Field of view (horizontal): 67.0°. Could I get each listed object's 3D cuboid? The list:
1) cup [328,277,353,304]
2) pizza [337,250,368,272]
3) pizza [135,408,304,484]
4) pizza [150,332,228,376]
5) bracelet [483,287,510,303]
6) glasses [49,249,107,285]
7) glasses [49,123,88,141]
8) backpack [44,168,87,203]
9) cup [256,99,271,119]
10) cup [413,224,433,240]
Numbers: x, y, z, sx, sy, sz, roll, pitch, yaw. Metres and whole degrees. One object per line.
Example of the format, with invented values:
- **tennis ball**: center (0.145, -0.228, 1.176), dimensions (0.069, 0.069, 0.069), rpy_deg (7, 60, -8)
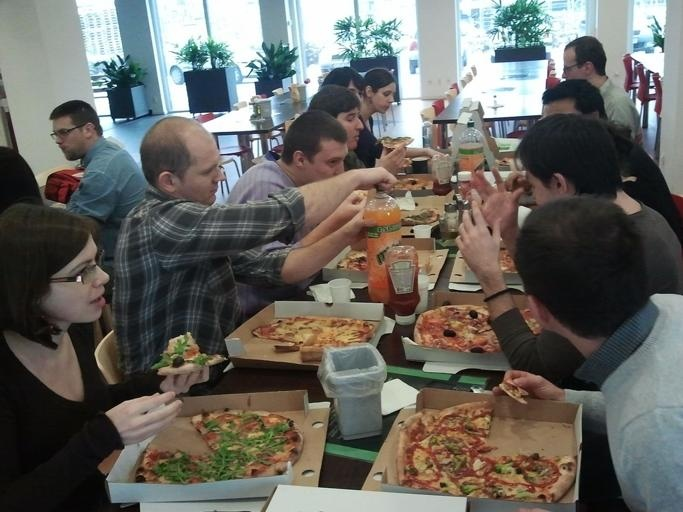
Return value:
- **cup**: center (-0.004, 0.131, 1.876), dimensions (0.077, 0.060, 0.089), rpy_deg (-1, 13, 6)
- **pizza**: center (0.056, 0.026, 2.282), dimensions (0.102, 0.023, 0.092), rpy_deg (3, 27, 17)
- **pizza**: center (-0.300, 0.473, 1.302), dimensions (0.397, 0.057, 0.240), rpy_deg (-6, 17, -4)
- **pizza**: center (-0.486, 0.307, 1.603), dimensions (0.179, 0.060, 0.163), rpy_deg (-2, 14, -6)
- **bracelet**: center (0.494, 0.121, 1.637), dimensions (0.055, 0.013, 0.056), rpy_deg (-23, 2, 23)
- **glasses**: center (-0.680, 0.026, 1.334), dimensions (0.098, 0.024, 0.088), rpy_deg (-1, 20, 4)
- **glasses**: center (-2.043, -0.926, 3.869), dimensions (0.181, 0.051, 0.184), rpy_deg (-5, 22, 43)
- **backpack**: center (-2.130, -0.543, 4.088), dimensions (0.322, 0.137, 0.367), rpy_deg (2, 27, 12)
- **cup**: center (-0.957, -1.840, 6.500), dimensions (0.248, 0.181, 0.243), rpy_deg (-3, 12, 1)
- **cup**: center (0.397, -0.116, 2.501), dimensions (0.083, 0.047, 0.070), rpy_deg (-3, 13, -15)
